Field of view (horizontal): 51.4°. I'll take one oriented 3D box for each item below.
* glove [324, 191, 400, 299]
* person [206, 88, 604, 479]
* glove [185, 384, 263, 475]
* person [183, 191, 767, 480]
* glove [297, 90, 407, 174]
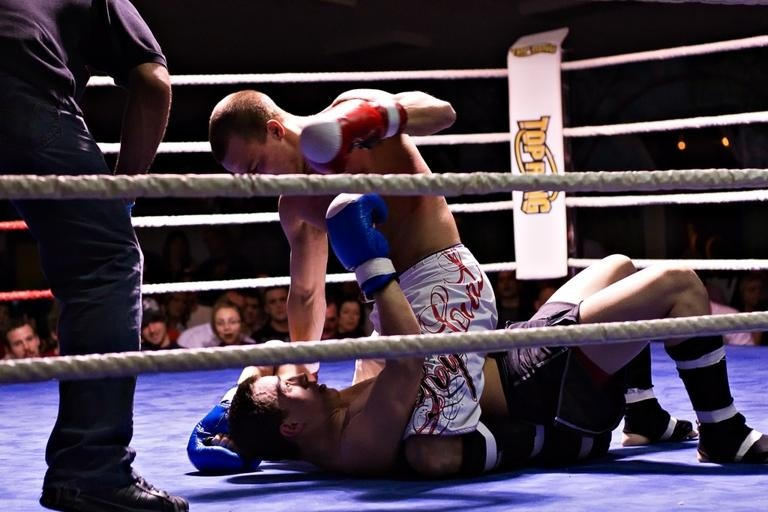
[{"bbox_3d":[-0.061,-0.020,2.050,0.164,0.277,0.114,-3,4,-14],"label":"glove"},{"bbox_3d":[-0.004,0.051,2.474,0.913,1.181,0.934,-10,3,32],"label":"person"},{"bbox_3d":[-0.453,0.508,2.274,0.068,0.193,0.187,37,12,-50],"label":"glove"},{"bbox_3d":[0.222,0.272,2.428,1.727,0.794,0.692,-4,-8,3],"label":"person"},{"bbox_3d":[-0.082,-0.313,2.040,0.243,0.101,0.180,-24,0,-30],"label":"glove"}]
